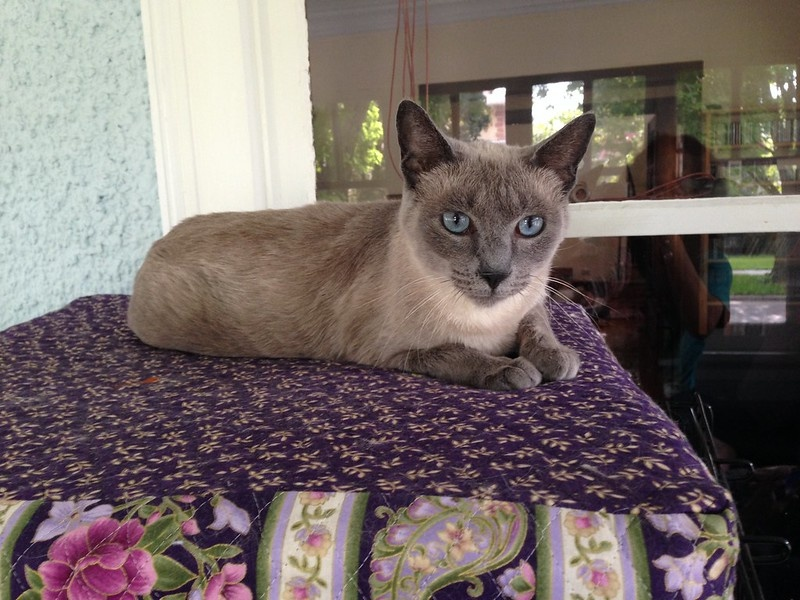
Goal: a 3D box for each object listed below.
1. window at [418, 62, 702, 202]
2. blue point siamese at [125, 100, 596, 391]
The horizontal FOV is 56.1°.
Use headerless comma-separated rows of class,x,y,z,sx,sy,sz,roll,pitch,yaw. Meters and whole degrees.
window,0.453,-0.423,2.004,0.670,0.344,0.007,0,11,31
blue point siamese,-0.113,-0.127,1.686,1.102,0.546,0.449,6,19,21
